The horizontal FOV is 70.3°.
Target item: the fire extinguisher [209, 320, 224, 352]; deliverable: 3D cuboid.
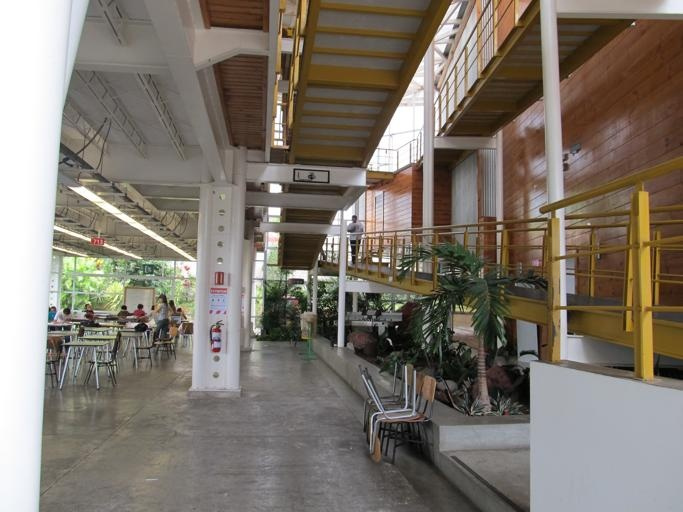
[{"bbox_3d":[-2.031,1.299,7.908,0.218,0.519,0.171,3,-4,-15],"label":"fire extinguisher"}]
